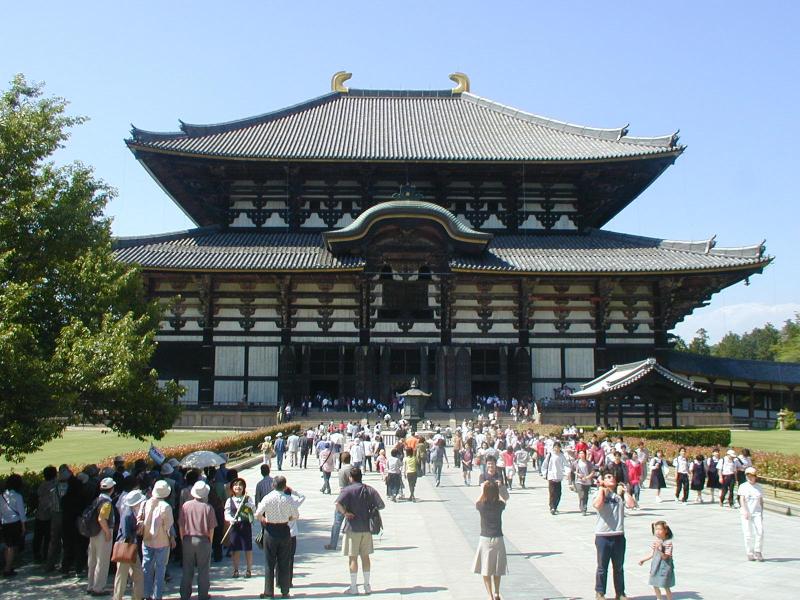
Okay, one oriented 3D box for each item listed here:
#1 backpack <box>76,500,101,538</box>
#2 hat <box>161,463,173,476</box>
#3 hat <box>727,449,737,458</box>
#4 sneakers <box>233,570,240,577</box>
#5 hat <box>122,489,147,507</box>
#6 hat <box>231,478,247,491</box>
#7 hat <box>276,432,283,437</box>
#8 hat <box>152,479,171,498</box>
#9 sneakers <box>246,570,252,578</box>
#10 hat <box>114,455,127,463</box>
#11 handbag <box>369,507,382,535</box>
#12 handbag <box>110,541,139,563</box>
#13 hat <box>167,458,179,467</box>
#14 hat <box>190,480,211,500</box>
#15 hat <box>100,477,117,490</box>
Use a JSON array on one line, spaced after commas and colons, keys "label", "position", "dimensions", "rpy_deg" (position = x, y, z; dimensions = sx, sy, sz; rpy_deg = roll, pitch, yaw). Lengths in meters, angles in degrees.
[{"label": "backpack", "position": [-8.153, 5.722, 26.308], "dimensions": [0.646, 0.959, 0.268], "rpy_deg": [-6, -14, 23]}, {"label": "hat", "position": [-6.582, 4.789, 28.374], "dimensions": [0.216, 0.334, 0.420], "rpy_deg": [-9, -15, 31]}, {"label": "hat", "position": [11.665, 5.385, 35.212], "dimensions": [0.251, 0.180, 0.350], "rpy_deg": [4, -3, 1]}, {"label": "sneakers", "position": [-4.552, 7.495, 27.518], "dimensions": [0.170, 0.185, 0.225], "rpy_deg": [2, -13, -11]}, {"label": "hat", "position": [-6.840, 5.058, 25.659], "dimensions": [0.526, 0.445, 0.482], "rpy_deg": [2, -13, -14]}, {"label": "hat", "position": [-4.513, 5.107, 27.822], "dimensions": [0.371, 0.336, 0.504], "rpy_deg": [2, -13, -12]}, {"label": "hat", "position": [-5.595, 6.167, 45.998], "dimensions": [0.260, 0.123, 0.298], "rpy_deg": [-1, -11, 0]}, {"label": "hat", "position": [-6.154, 4.766, 25.688], "dimensions": [0.403, 0.529, 0.186], "rpy_deg": [12, -48, -24]}, {"label": "sneakers", "position": [-4.188, 7.496, 27.526], "dimensions": [0.170, 0.186, 0.283], "rpy_deg": [1, -13, -9]}, {"label": "hat", "position": [-8.148, 4.619, 28.953], "dimensions": [0.315, 0.289, 0.323], "rpy_deg": [-1, -7, 25]}, {"label": "handbag", "position": [-0.643, 5.843, 26.568], "dimensions": [0.250, 0.606, 0.583], "rpy_deg": [-3, -13, 7]}, {"label": "handbag", "position": [-6.952, 6.349, 25.288], "dimensions": [0.639, 0.538, 0.251], "rpy_deg": [1, -22, -2]}, {"label": "hat", "position": [-6.616, 4.724, 29.151], "dimensions": [0.334, 0.127, 0.420], "rpy_deg": [0, -3, -23]}, {"label": "hat", "position": [-5.225, 4.922, 26.008], "dimensions": [0.422, 0.486, 0.488], "rpy_deg": [2, -13, -13]}, {"label": "hat", "position": [-7.806, 4.867, 26.651], "dimensions": [0.323, 0.327, 0.560], "rpy_deg": [2, -13, -14]}]
